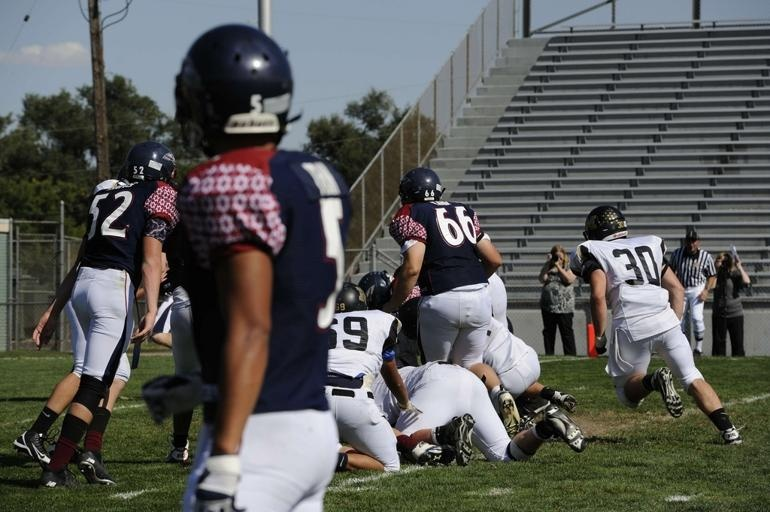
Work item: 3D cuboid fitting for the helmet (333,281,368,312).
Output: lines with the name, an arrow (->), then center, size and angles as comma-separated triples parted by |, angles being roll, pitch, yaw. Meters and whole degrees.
helmet -> -0.418, 0.537, 16.149 | 0.320, 0.403, 0.390 | 1, 9, 21

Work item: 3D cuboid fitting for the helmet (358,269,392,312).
helmet -> -0.079, 0.480, 17.377 | 0.434, 0.492, 0.518 | 0, -24, 18

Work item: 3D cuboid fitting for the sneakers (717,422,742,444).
sneakers -> 4.683, 2.399, 16.903 | 0.169, 0.167, 0.353 | -1, 7, 10

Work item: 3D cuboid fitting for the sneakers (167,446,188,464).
sneakers -> -2.735, 2.613, 16.491 | 0.257, 0.193, 0.202 | -4, -3, 40

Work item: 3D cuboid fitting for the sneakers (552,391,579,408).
sneakers -> 2.573, 2.011, 17.799 | 0.302, 0.135, 0.244 | 20, -1, 7

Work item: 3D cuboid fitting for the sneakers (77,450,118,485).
sneakers -> -3.681, 2.700, 15.839 | 0.254, 0.258, 0.654 | -15, -44, 25

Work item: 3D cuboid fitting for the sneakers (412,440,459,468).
sneakers -> 0.662, 2.553, 16.295 | 0.590, 0.252, 0.285 | 6, 9, 0

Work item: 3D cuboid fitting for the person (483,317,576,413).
person -> 1.824, 1.497, 17.950 | 1.382, 0.659, 2.028 | 8, 19, -22
